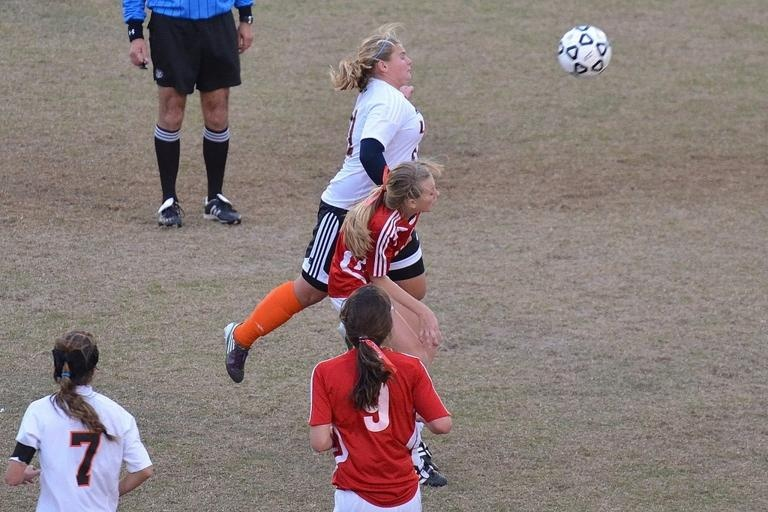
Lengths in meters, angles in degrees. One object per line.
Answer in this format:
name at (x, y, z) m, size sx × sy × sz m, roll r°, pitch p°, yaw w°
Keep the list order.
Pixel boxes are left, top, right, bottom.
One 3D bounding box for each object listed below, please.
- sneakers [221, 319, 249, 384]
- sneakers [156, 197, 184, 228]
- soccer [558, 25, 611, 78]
sneakers at (-1.273, 0.839, 11.176) m, size 0.254 × 0.538 × 0.181 m, roll -12°, pitch -2°, yaw 43°
sneakers at (-2.131, -0.434, 13.074) m, size 0.231 × 0.149 × 0.311 m, roll -3°, pitch 47°, yaw -11°
soccer at (2.229, -2.110, 13.501) m, size 0.653 × 0.498 × 0.541 m, roll 2°, pitch 11°, yaw -24°
